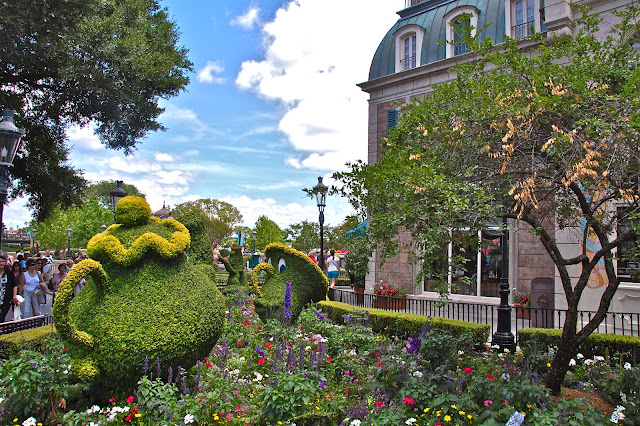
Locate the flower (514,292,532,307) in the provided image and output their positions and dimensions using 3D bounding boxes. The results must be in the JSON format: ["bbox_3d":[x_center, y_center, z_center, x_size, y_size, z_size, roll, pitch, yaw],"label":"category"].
[{"bbox_3d":[6.558,2.856,17.693,0.445,0.352,0.481,3,-4,16],"label":"flower"}]

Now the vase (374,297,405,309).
[{"bbox_3d":[2.351,3.074,18.481,0.874,0.461,1.815,1,-6,14],"label":"vase"}]
